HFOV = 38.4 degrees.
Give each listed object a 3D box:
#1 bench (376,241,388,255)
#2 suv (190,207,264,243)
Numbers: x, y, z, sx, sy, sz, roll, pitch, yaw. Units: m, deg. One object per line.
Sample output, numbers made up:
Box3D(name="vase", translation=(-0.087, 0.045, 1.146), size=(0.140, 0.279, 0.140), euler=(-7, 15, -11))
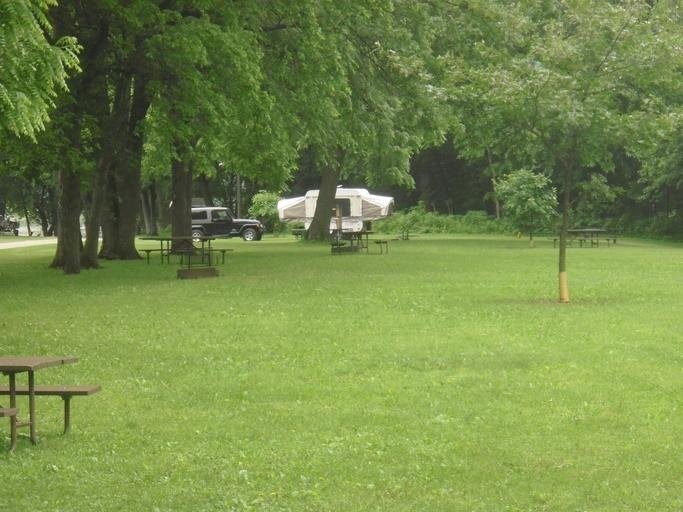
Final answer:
Box3D(name="bench", translation=(1.740, -0.356, 42.616), size=(0.598, 0.715, 0.048), euler=(3, 7, 15))
Box3D(name="suv", translation=(-6.435, -1.715, 55.359), size=(4.087, 1.869, 2.040), euler=(-2, 4, -10))
